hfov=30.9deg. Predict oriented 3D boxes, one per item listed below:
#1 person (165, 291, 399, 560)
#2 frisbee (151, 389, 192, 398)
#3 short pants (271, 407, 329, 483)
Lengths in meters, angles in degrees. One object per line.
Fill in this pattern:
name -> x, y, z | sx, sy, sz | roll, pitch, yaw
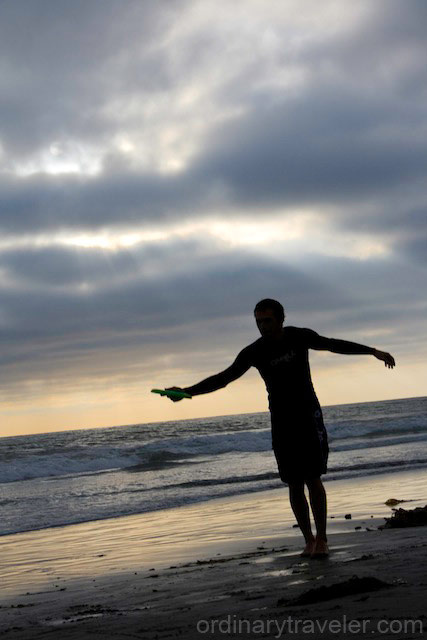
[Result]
person -> 0.583, 0.785, 5.579 | 1.305, 1.861, 0.448 | -8, -8, 8
frisbee -> -0.315, 0.520, 5.385 | 0.175, 0.068, 0.391 | -8, -8, 25
short pants -> 0.629, 0.923, 5.607 | 0.401, 0.532, 0.308 | -7, -8, 4
